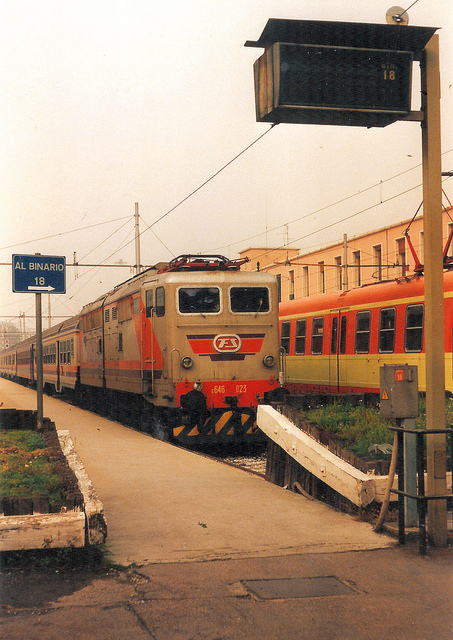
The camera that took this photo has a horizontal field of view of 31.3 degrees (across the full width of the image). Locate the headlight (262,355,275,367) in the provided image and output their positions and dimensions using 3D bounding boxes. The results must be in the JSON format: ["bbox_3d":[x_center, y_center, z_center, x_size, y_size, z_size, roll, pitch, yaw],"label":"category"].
[{"bbox_3d":[0.688,0.679,13.467,0.228,0.200,0.065,0,-3,-32],"label":"headlight"}]

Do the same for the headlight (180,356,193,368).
[{"bbox_3d":[-0.658,0.677,12.922,0.204,0.162,0.085,-1,-2,-6],"label":"headlight"}]

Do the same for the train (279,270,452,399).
[{"bbox_3d":[3.384,0.380,18.367,1.670,1.830,6.172,1,-1,-22],"label":"train"}]
